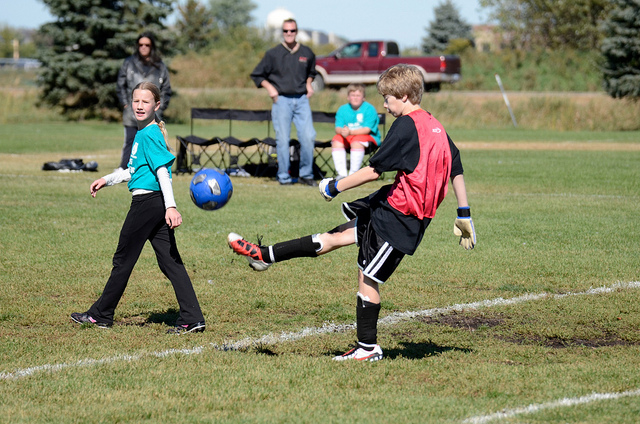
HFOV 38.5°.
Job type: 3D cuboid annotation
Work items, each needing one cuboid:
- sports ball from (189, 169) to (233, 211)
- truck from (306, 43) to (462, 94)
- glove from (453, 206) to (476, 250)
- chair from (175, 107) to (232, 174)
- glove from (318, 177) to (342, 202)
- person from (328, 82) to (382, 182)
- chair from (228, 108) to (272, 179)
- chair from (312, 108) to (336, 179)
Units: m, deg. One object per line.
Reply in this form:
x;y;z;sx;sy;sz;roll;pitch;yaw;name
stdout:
-1.381;-0.309;11.599;0.500;0.566;0.515;5;35;-4;sports ball
1.918;-5.030;30.879;5.666;1.968;3.080;2;7;4;truck
1.781;0.199;11.238;0.231;0.574;0.595;0;5;8;glove
-2.499;-1.465;19.784;1.211;1.528;1.152;4;5;-17;chair
0.108;-0.264;10.789;0.148;0.158;0.330;37;18;-18;glove
0.627;-1.565;17.654;0.861;1.880;1.226;0;6;19;person
-1.504;-1.446;18.940;0.820;1.343;0.847;1;9;11;chair
0.048;-1.621;19.088;0.566;1.687;0.587;-2;-27;2;chair
